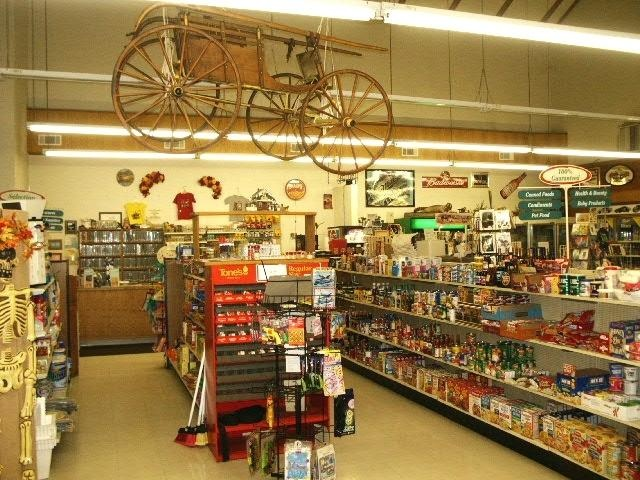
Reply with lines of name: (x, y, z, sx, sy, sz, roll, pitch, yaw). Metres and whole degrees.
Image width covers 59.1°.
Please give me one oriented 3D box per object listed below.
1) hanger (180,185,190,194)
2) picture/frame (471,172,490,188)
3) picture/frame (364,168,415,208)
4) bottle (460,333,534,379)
hanger: (-3.527, -1.299, 14.523, 0.212, 0.141, 0.008, -2, 10, -6)
picture/frame: (4.871, -1.838, 17.172, 0.511, 0.426, 0.070, 0, 7, -4)
picture/frame: (1.953, -1.521, 16.400, 1.220, 0.854, 0.046, 0, 0, -20)
bottle: (2.324, 1.498, 7.324, 0.459, 0.203, 0.613, 0, 2, -25)
